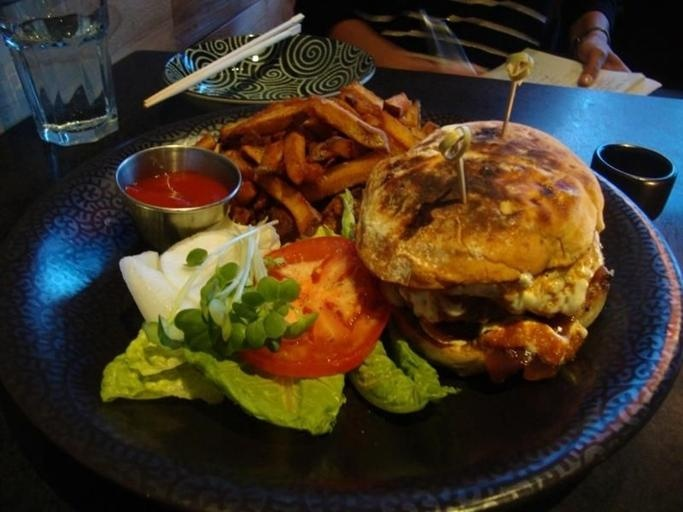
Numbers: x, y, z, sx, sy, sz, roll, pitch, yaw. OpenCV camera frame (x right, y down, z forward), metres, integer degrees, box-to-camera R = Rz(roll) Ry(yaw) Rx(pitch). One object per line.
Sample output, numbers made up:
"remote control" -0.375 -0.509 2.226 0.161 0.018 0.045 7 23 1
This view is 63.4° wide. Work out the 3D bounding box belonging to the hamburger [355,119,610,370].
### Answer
"hamburger" 0.623 -0.075 2.678 1.095 0.662 1.178 -10 50 -3
